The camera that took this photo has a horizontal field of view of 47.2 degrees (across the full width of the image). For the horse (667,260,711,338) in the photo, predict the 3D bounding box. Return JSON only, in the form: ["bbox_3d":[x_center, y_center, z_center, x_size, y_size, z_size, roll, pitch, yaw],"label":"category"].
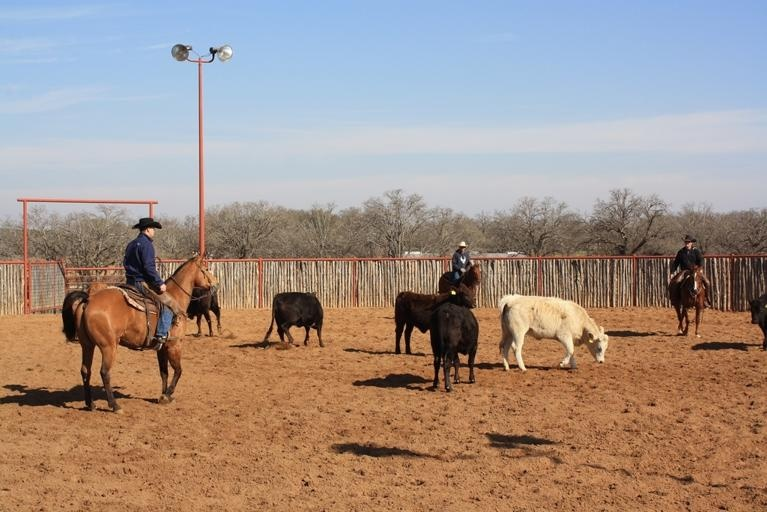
[{"bbox_3d":[8.761,1.264,25.061,1.042,1.843,3.262,1,0,20],"label":"horse"}]

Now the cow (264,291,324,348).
[{"bbox_3d":[-2.238,1.661,23.106,1.444,1.407,1.655,1,0,3],"label":"cow"}]

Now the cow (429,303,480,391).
[{"bbox_3d":[1.554,1.974,19.096,0.998,1.852,1.406,1,1,3],"label":"cow"}]

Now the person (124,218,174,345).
[{"bbox_3d":[-4.820,0.537,18.545,0.995,2.651,1.003,7,10,40],"label":"person"}]
